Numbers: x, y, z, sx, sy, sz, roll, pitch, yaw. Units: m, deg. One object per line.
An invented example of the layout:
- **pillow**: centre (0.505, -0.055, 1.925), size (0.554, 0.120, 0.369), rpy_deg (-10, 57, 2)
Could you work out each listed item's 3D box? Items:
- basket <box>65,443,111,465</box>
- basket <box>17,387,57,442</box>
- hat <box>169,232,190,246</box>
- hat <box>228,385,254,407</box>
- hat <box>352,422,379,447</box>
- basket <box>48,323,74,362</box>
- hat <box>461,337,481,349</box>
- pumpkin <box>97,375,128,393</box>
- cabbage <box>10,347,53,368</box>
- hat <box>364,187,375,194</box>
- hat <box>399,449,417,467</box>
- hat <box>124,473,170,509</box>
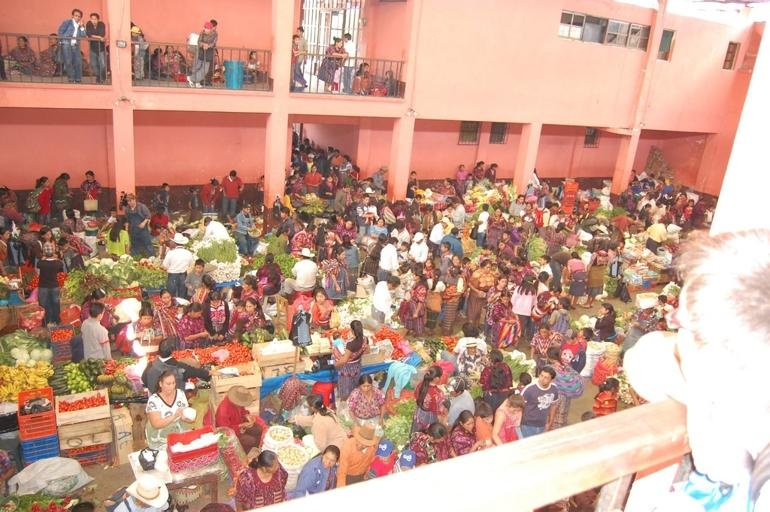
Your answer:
- **basket**: centre (-4.221, 2.808, 8.072), size (0.437, 0.196, 0.329), rpy_deg (-2, 7, -41)
- **basket**: centre (-4.708, 2.131, 7.695), size (0.466, 0.441, 0.719), rpy_deg (-1, 6, -24)
- **hat**: centre (-4.595, -0.378, 12.830), size (0.319, 0.099, 0.322), rpy_deg (32, 23, 21)
- **hat**: centre (-2.039, 2.000, 8.036), size (0.358, 0.318, 0.273), rpy_deg (-10, 16, -32)
- **hat**: centre (-0.284, 2.280, 7.335), size (0.290, 0.126, 0.328), rpy_deg (15, 11, -13)
- **basket**: centre (-5.477, 1.498, 9.615), size (0.387, 0.465, 0.640), rpy_deg (-9, 16, -29)
- **hat**: centre (1.459, 1.447, 9.504), size (0.347, 0.192, 0.104), rpy_deg (-7, 15, -21)
- **pumpkin**: centre (-3.974, 1.877, 8.289), size (0.407, 0.270, 0.222), rpy_deg (-8, 15, -26)
- **cabbage**: centre (-5.705, 1.594, 9.081), size (0.480, 0.193, 0.481), rpy_deg (5, 3, 5)
- **hat**: centre (-0.487, -2.132, 18.180), size (0.394, 0.169, 0.397), rpy_deg (6, 20, 14)
- **hat**: centre (0.297, 2.650, 7.355), size (0.179, 0.164, 0.214), rpy_deg (5, 11, -4)
- **hat**: centre (-2.625, 2.603, 6.260), size (0.378, 0.372, 0.325), rpy_deg (-6, 14, -18)
